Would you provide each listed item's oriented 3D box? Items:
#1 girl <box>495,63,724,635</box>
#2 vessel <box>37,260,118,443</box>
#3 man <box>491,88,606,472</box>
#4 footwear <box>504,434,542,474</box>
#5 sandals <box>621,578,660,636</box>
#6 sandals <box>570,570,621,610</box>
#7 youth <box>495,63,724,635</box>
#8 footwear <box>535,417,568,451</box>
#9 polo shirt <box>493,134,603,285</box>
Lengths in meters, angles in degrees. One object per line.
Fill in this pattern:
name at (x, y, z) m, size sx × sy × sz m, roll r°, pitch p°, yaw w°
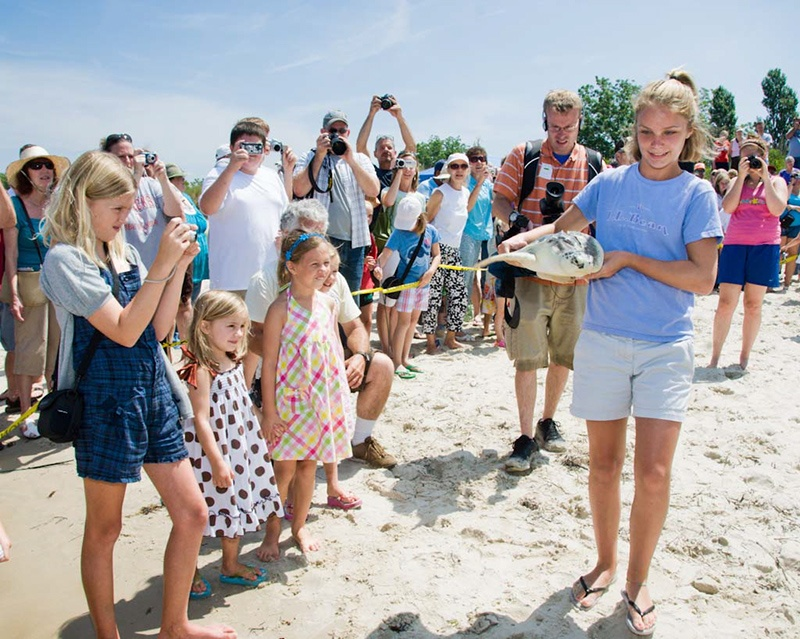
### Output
girl at (1.157, 0.172, 3.326) m, size 0.699 × 2.667 × 0.489 m, roll 6°, pitch 9°, yaw 29°
vessel at (-1.418, 0.295, 2.895) m, size 0.253 × 0.496 × 0.181 m, roll 0°, pitch 8°, yaw -12°
man at (0.989, -0.278, 4.590) m, size 0.823 × 2.514 × 0.934 m, roll 7°, pitch 11°, yaw 34°
footwear at (0.841, 0.955, 4.634) m, size 0.130 × 0.165 × 0.365 m, roll 1°, pitch -1°, yaw 20°
sandals at (1.168, 1.412, 3.247) m, size 0.117 × 0.063 × 0.259 m, roll -5°, pitch 32°, yaw -2°
sandals at (0.981, 1.391, 3.449) m, size 0.107 × 0.062 × 0.253 m, roll 16°, pitch 23°, yaw 43°
youth at (1.156, 0.172, 3.325) m, size 0.698 × 2.667 × 0.485 m, roll 6°, pitch 9°, yaw 29°
footwear at (1.108, 0.855, 4.905) m, size 0.116 × 0.142 × 0.326 m, roll -2°, pitch 0°, yaw -11°
polo shirt at (1.016, -0.789, 4.601) m, size 0.866 × 0.945 × 0.327 m, roll 17°, pitch -24°, yaw -8°
